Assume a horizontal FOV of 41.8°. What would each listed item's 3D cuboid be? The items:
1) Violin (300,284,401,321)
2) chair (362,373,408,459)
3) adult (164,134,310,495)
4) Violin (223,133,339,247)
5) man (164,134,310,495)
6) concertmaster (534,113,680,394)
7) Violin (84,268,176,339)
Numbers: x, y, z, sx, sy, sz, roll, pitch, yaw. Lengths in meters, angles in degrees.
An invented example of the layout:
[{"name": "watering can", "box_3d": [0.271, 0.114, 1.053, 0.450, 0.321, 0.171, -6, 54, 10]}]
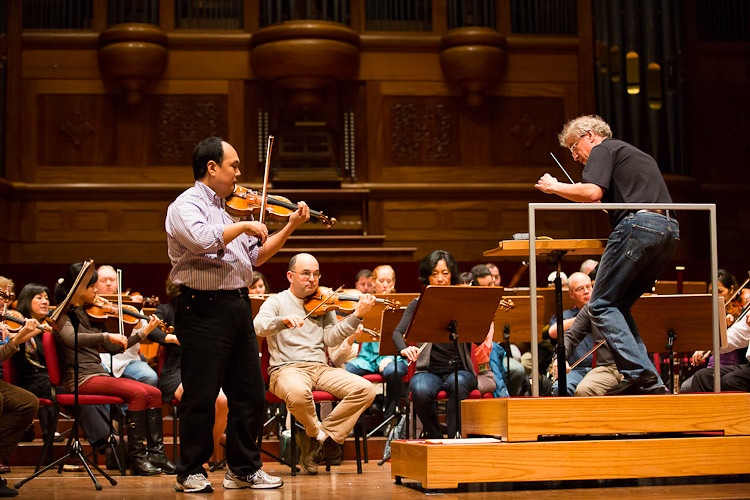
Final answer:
[{"name": "Violin", "box_3d": [-0.250, 0.490, 8.773, 0.777, 0.120, 0.311, 5, 12, -11]}, {"name": "chair", "box_3d": [0.160, 1.576, 9.351, 0.711, 0.827, 0.680, 0, -11, 6]}, {"name": "adult", "box_3d": [-1.132, 0.470, 7.440, 0.872, 2.693, 0.578, 1, -2, -13]}, {"name": "Violin", "box_3d": [-0.842, -0.459, 7.737, 1.212, 0.216, 0.470, 18, 18, -14]}, {"name": "man", "box_3d": [-1.134, 0.470, 7.438, 0.867, 2.693, 0.576, 1, -2, -13]}, {"name": "concertmaster", "box_3d": [1.928, 0.020, 7.980, 1.111, 2.335, 1.120, 0, -14, 14]}, {"name": "Violin", "box_3d": [-2.148, 0.525, 9.162, 1.101, 0.207, 0.436, 21, 13, -26]}]
